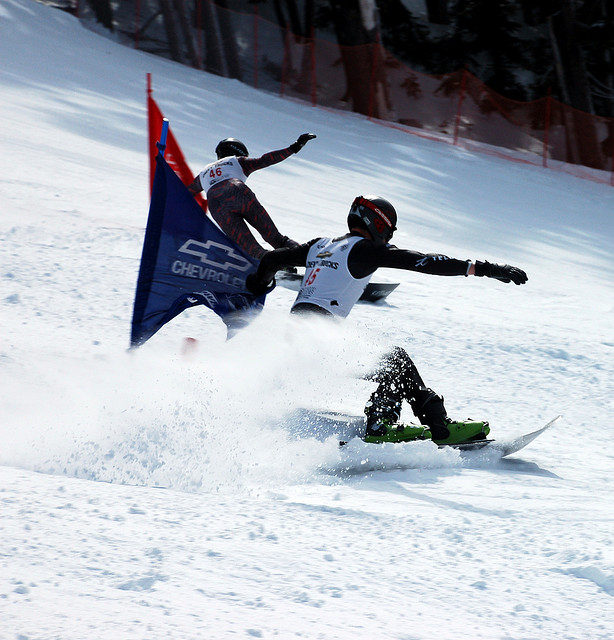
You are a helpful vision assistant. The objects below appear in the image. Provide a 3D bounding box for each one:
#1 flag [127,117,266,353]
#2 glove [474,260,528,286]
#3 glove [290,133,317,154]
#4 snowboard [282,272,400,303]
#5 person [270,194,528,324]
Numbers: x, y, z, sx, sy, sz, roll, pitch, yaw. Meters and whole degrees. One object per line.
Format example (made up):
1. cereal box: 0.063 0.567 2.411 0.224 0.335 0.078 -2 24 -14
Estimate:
1. flag: -0.521 -0.327 4.174 0.669 1.039 0.219 7 11 -6
2. glove: 0.895 -0.218 3.632 0.245 0.088 0.237 7 8 19
3. glove: -0.027 -1.435 6.410 0.156 0.076 0.303 -5 -4 -27
4. snowboard: 0.300 -0.272 6.597 0.893 0.176 0.610 8 8 31
5. person: 0.405 -0.279 3.837 1.072 0.638 0.323 9 10 27
